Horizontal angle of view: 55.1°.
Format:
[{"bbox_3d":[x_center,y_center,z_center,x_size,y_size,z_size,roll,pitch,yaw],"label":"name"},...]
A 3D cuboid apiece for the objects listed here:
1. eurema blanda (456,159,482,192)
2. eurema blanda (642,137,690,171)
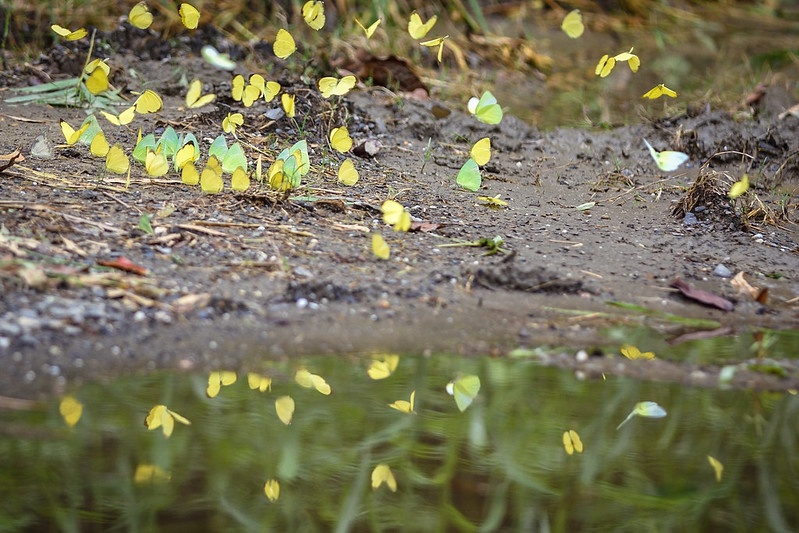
[{"bbox_3d":[0.392,-0.511,4.242,0.124,0.164,0.072,16,32,2],"label":"eurema blanda"},{"bbox_3d":[1.704,-0.709,4.867,0.252,0.133,0.333,15,5,-3],"label":"eurema blanda"}]
